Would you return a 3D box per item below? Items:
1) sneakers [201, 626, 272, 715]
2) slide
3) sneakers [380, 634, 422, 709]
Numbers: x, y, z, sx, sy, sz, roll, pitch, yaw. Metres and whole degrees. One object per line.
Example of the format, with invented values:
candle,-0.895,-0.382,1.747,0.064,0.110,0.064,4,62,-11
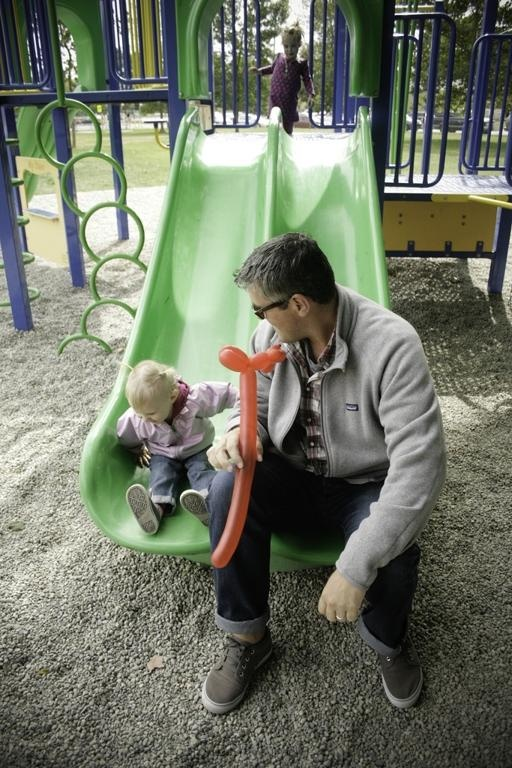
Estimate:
sneakers,-0.044,0.664,1.313,0.081,0.095,0.210,13,32,26
slide,-0.112,-0.482,2.126,0.823,0.449,2.288,-1,61,5
sneakers,0.348,0.673,1.302,0.083,0.084,0.243,-15,-2,8
